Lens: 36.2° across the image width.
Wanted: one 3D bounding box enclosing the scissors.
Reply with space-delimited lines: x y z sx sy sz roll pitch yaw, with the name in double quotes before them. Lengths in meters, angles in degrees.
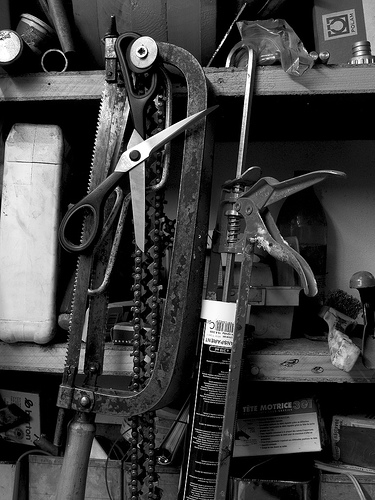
"scissors" -0.072 -0.156 0.881 0.227 0.311 0.062 4 -1 16
